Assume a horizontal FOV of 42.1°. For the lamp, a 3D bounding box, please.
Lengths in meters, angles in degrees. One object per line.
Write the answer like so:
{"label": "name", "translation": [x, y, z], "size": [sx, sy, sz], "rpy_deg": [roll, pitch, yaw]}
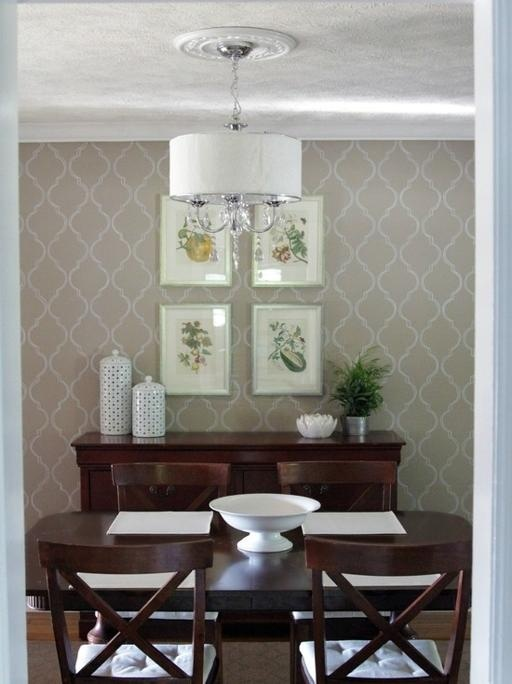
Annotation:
{"label": "lamp", "translation": [-0.066, -0.680, 2.180], "size": [0.449, 0.558, 0.408], "rpy_deg": [1, 19, 2]}

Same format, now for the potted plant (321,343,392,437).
{"label": "potted plant", "translation": [0.486, 0.256, 3.373], "size": [0.471, 0.488, 0.400], "rpy_deg": [2, -4, -2]}
